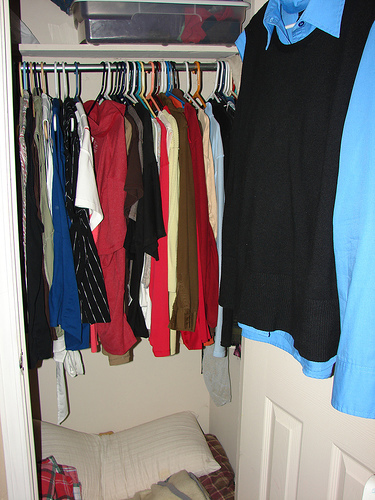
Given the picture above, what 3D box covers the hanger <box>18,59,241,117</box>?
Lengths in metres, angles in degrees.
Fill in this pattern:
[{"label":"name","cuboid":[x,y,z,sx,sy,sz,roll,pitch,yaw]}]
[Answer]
[{"label":"hanger","cuboid":[-0.175,-0.526,1.351,0.677,0.181,0.223,1,14,-2]}]
